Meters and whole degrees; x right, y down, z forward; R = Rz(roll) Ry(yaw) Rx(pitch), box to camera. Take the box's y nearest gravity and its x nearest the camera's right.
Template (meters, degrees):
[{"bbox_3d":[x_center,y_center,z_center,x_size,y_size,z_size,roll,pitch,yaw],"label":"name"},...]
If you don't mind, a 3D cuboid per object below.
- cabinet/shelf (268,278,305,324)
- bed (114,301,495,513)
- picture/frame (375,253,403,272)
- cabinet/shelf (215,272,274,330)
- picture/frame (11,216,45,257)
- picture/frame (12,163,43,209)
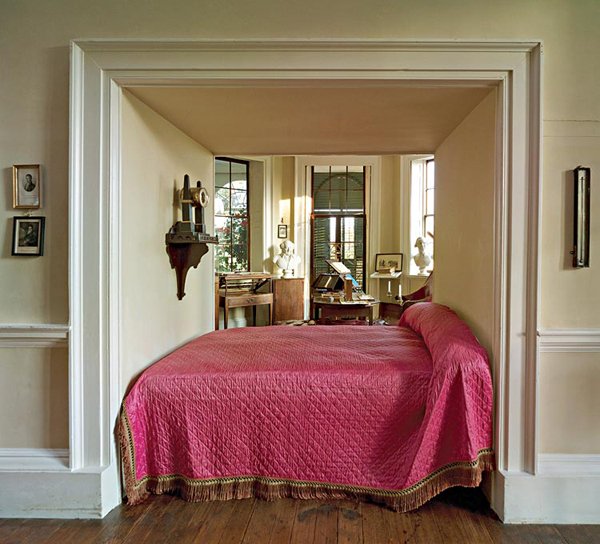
[{"bbox_3d":[-0.209,0.387,7.415,0.197,0.598,0.582,-1,1,33],"label":"cabinet/shelf"},{"bbox_3d":[0.088,0.791,3.098,1.199,0.499,1.275,1,3,5],"label":"bed"},{"bbox_3d":[1.428,-0.148,8.663,0.267,0.246,0.020,2,-6,19],"label":"picture/frame"},{"bbox_3d":[-0.701,0.337,6.682,0.250,0.673,0.663,-1,0,35],"label":"cabinet/shelf"},{"bbox_3d":[-1.426,-0.187,2.865,0.186,0.274,0.027,0,-1,-2],"label":"picture/frame"},{"bbox_3d":[-1.433,-0.441,2.866,0.146,0.227,0.064,-1,14,-4],"label":"picture/frame"}]
